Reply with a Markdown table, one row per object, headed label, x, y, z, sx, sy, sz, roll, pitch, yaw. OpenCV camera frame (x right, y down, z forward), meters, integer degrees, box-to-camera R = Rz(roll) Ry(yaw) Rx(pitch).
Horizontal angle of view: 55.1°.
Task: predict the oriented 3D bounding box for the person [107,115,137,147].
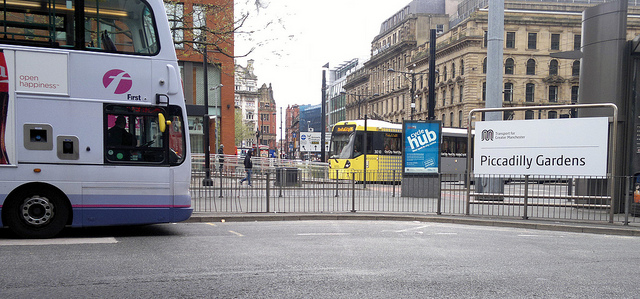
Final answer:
| label | x | y | z | sx | sy | sz | roll | pitch | yaw |
| --- | --- | --- | --- | --- | --- | --- | --- | --- | --- |
| person | -7.422 | -0.662 | 23.086 | 1.246 | 0.893 | 0.536 | -1 | 15 | -12 |

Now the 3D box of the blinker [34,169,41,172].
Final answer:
| label | x | y | z | sx | sy | sz | roll | pitch | yaw |
| --- | --- | --- | --- | --- | --- | --- | --- | --- | --- |
| blinker | -10.278 | 0.799 | 22.558 | 0.214 | 0.073 | 0.025 | -2 | 10 | -15 |

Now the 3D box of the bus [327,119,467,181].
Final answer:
| label | x | y | z | sx | sy | sz | roll | pitch | yaw |
| --- | --- | --- | --- | --- | --- | --- | --- | --- | --- |
| bus | 7.581 | 0.386 | 48.959 | 16.262 | 4.375 | 3.765 | 3 | 1 | -35 |
